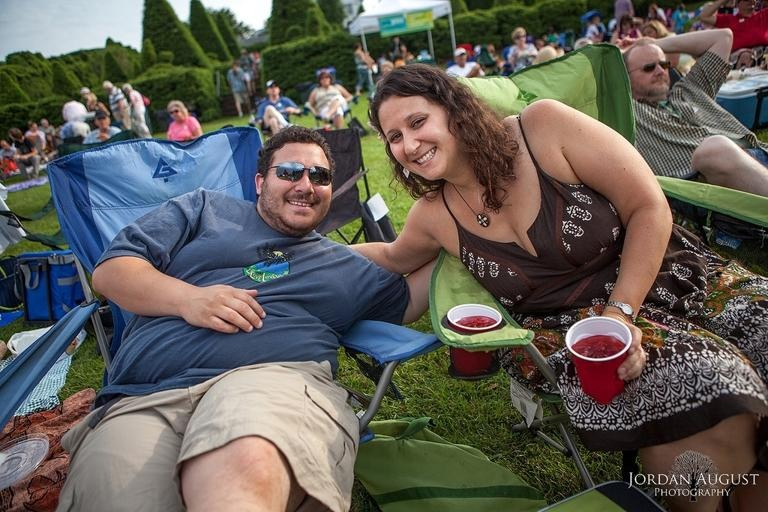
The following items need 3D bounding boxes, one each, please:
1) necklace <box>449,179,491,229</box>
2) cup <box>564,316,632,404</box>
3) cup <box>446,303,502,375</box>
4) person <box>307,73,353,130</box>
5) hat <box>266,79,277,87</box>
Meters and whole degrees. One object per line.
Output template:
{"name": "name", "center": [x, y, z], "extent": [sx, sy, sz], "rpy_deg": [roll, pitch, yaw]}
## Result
{"name": "necklace", "center": [0.485, -0.284, 3.410], "extent": [0.296, 0.071, 0.041], "rpy_deg": [44, 33, 20]}
{"name": "cup", "center": [1.019, 0.500, 2.910], "extent": [0.266, 0.275, 0.272], "rpy_deg": [-14, 32, 9]}
{"name": "cup", "center": [0.413, 0.426, 3.233], "extent": [0.332, 0.353, 0.331], "rpy_deg": [-1, 6, 0]}
{"name": "person", "center": [-1.010, -2.917, 11.826], "extent": [0.745, 1.429, 1.293], "rpy_deg": [-12, 6, -6]}
{"name": "hat", "center": [-2.072, -3.164, 11.437], "extent": [0.200, 0.117, 0.289], "rpy_deg": [-23, 18, -19]}
